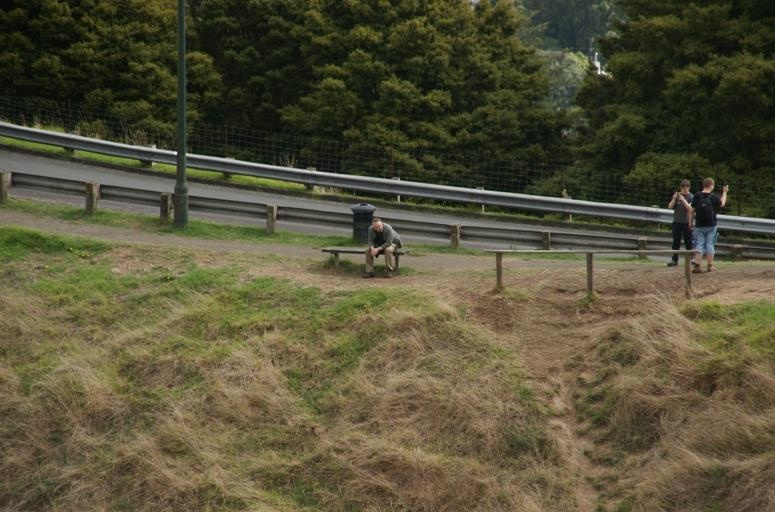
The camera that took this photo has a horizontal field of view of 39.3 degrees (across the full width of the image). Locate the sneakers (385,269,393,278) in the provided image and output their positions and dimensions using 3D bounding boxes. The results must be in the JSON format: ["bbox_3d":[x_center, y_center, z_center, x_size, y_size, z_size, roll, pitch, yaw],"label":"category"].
[{"bbox_3d":[0.024,0.561,34.537,0.243,0.327,0.169,5,-7,-26],"label":"sneakers"}]

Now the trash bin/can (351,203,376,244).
[{"bbox_3d":[-0.904,-1.096,37.434,1.021,1.757,1.100,1,1,0],"label":"trash bin/can"}]

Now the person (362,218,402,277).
[{"bbox_3d":[-0.190,-0.305,34.779,1.116,1.862,1.003,2,6,-4],"label":"person"}]
